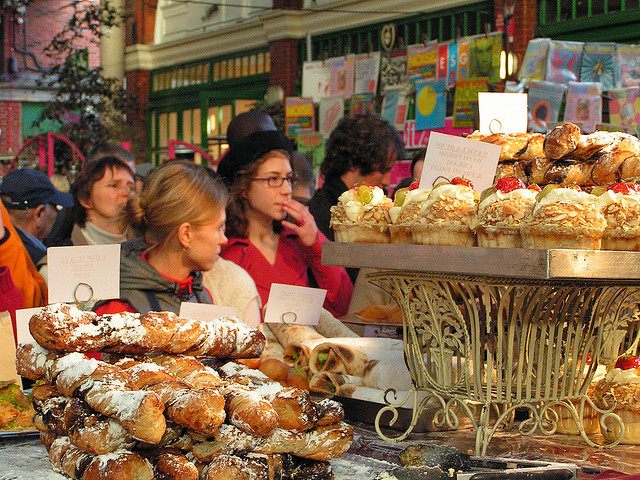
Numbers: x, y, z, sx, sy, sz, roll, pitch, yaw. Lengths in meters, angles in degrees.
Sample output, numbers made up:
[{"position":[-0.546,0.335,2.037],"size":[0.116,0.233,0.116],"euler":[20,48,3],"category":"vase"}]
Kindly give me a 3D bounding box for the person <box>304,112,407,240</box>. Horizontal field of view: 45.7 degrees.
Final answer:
[{"position":[0.250,-0.515,4.871],"size":[0.762,0.980,0.912],"euler":[-2,14,2],"category":"person"}]

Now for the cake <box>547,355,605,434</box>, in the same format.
[{"position":[0.777,0.462,2.300],"size":[0.147,0.282,0.415],"euler":[2,3,21],"category":"cake"}]

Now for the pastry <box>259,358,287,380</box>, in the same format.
[{"position":[-0.156,0.441,2.588],"size":[0.080,0.072,0.071],"euler":[-5,11,3],"category":"pastry"}]

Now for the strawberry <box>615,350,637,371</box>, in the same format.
[{"position":[0.938,0.369,2.332],"size":[0.049,0.054,0.050],"euler":[-5,4,-41],"category":"strawberry"}]

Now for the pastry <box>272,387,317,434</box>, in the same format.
[{"position":[-0.061,0.415,1.858],"size":[0.098,0.102,0.097],"euler":[-2,-1,-14],"category":"pastry"}]

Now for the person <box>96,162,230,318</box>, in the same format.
[{"position":[-0.569,-0.012,3.233],"size":[0.589,0.692,0.730],"euler":[1,19,-1],"category":"person"}]

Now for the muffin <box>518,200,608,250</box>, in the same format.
[{"position":[0.648,-0.024,1.987],"size":[0.155,0.096,0.166],"euler":[0,-4,5],"category":"muffin"}]

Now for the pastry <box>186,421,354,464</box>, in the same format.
[{"position":[-0.115,0.490,1.905],"size":[0.410,0.100,0.137],"euler":[4,-13,-21],"category":"pastry"}]

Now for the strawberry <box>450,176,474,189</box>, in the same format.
[{"position":[0.442,-0.179,2.334],"size":[0.055,0.053,0.050],"euler":[10,6,-15],"category":"strawberry"}]

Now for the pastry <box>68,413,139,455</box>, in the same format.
[{"position":[-0.509,0.450,1.846],"size":[0.172,0.092,0.163],"euler":[0,-4,-24],"category":"pastry"}]

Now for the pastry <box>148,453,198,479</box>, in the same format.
[{"position":[-0.339,0.525,1.759],"size":[0.119,0.049,0.055],"euler":[3,3,30],"category":"pastry"}]

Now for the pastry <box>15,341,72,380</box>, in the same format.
[{"position":[-0.715,0.304,2.034],"size":[0.133,0.110,0.130],"euler":[0,2,26],"category":"pastry"}]

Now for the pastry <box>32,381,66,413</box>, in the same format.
[{"position":[-0.681,0.403,1.960],"size":[0.085,0.064,0.029],"euler":[-22,-14,21],"category":"pastry"}]

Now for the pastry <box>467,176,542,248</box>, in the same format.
[{"position":[0.504,-0.067,2.165],"size":[0.182,0.204,0.156],"euler":[0,-3,-24],"category":"pastry"}]

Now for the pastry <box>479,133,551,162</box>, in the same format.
[{"position":[0.646,-0.315,2.543],"size":[0.196,0.089,0.070],"euler":[1,3,7],"category":"pastry"}]

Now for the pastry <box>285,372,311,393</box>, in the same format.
[{"position":[-0.078,0.479,2.619],"size":[0.068,0.044,0.080],"euler":[22,0,-26],"category":"pastry"}]

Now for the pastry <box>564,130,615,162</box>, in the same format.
[{"position":[0.863,-0.301,2.420],"size":[0.127,0.100,0.040],"euler":[-3,7,5],"category":"pastry"}]

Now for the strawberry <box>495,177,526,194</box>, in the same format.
[{"position":[0.543,-0.157,2.187],"size":[0.070,0.038,0.053],"euler":[-3,5,-29],"category":"strawberry"}]

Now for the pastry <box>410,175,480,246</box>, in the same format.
[{"position":[0.373,-0.087,2.309],"size":[0.178,0.193,0.147],"euler":[-3,-4,-11],"category":"pastry"}]

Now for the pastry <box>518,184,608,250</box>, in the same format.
[{"position":[0.693,-0.053,2.143],"size":[0.252,0.188,0.291],"euler":[2,3,12],"category":"pastry"}]

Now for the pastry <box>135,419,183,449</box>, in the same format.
[{"position":[-0.366,0.462,1.796],"size":[0.081,0.035,0.091],"euler":[-10,-3,-28],"category":"pastry"}]

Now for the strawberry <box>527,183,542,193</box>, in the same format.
[{"position":[0.640,-0.158,2.264],"size":[0.047,0.029,0.054],"euler":[2,4,6],"category":"strawberry"}]

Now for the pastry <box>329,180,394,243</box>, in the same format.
[{"position":[0.158,-0.084,2.531],"size":[0.179,0.216,0.158],"euler":[-4,2,-43],"category":"pastry"}]

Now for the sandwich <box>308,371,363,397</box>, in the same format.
[{"position":[0.036,0.468,2.531],"size":[0.094,0.045,0.124],"euler":[3,-3,-33],"category":"sandwich"}]

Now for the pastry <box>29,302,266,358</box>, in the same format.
[{"position":[-0.443,0.240,2.017],"size":[0.594,0.127,0.161],"euler":[5,20,-22],"category":"pastry"}]

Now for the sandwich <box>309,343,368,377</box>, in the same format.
[{"position":[0.069,0.401,2.619],"size":[0.158,0.070,0.214],"euler":[13,13,29],"category":"sandwich"}]

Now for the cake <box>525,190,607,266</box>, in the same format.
[{"position":[0.649,-0.030,2.031],"size":[0.198,0.175,0.214],"euler":[0,-4,7],"category":"cake"}]
